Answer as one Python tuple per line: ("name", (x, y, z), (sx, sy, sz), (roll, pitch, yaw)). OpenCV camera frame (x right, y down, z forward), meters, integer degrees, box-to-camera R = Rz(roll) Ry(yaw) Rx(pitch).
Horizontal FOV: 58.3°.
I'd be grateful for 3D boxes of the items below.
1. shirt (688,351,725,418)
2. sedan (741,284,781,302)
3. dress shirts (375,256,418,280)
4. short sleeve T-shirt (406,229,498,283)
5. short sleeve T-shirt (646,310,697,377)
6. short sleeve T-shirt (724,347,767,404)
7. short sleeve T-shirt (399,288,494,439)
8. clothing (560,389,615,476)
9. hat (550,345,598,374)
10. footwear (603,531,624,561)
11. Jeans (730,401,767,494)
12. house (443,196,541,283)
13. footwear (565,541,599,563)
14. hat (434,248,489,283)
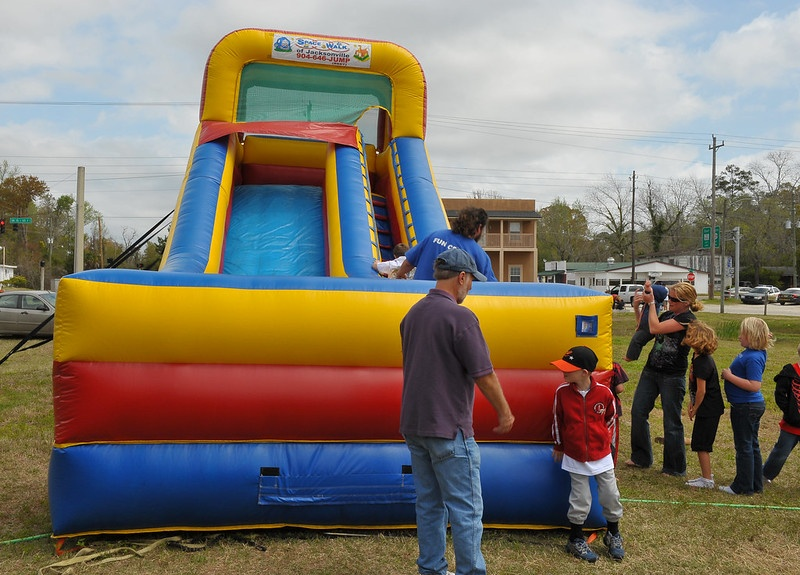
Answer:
("shirt", (2.963, 0.914, 6.985), (0.301, 0.598, 0.609), (-4, 4, 21))
("sedan", (19.019, 0.280, 38.089), (0.925, 0.658, 2.058), (-3, -3, 42))
("dress shirts", (-0.036, -0.235, 7.351), (0.332, 0.112, 0.247), (-13, 7, -34))
("short sleeve T-shirt", (0.409, -0.263, 6.657), (0.706, 0.532, 0.362), (15, -6, 21))
("short sleeve T-shirt", (2.656, 0.539, 7.060), (0.367, 0.657, 0.651), (3, -2, -11))
("short sleeve T-shirt", (3.314, 0.815, 6.888), (0.341, 0.553, 0.562), (9, 9, 23))
("short sleeve T-shirt", (0.322, 0.519, 4.977), (0.613, 1.013, 0.207), (0, 2, 7))
("clothing", (1.482, 1.118, 5.834), (0.504, 0.713, 0.353), (-3, 1, 14))
("hat", (1.400, 0.564, 5.715), (0.288, 0.159, 0.195), (6, 0, 0))
("footwear", (1.684, 2.037, 5.678), (0.086, 0.117, 0.257), (-1, 15, -5))
("Jeans", (3.267, 1.498, 6.758), (0.321, 0.861, 0.211), (1, 2, 10))
("house", (4.722, -2.637, 35.811), (4.959, 5.175, 5.015), (0, 4, 5))
("footwear", (1.427, 2.075, 5.656), (0.093, 0.105, 0.237), (-5, 1, -35))
("hat", (0.430, -0.167, 5.161), (0.331, 0.194, 0.210), (6, 0, -24))
